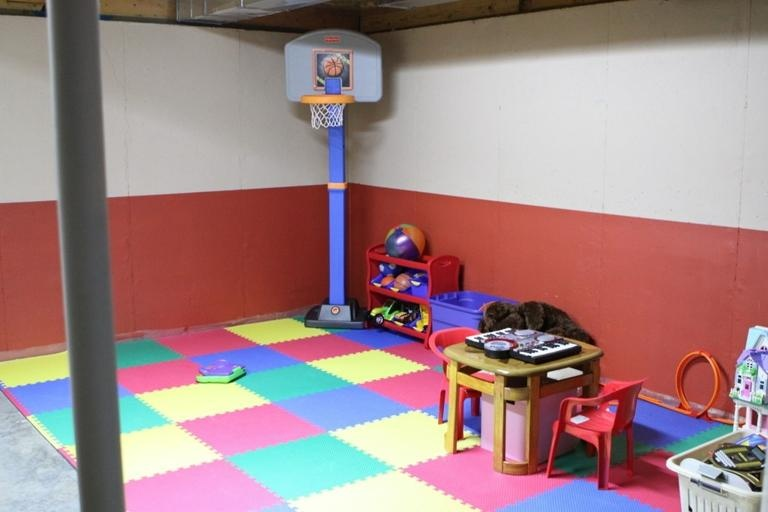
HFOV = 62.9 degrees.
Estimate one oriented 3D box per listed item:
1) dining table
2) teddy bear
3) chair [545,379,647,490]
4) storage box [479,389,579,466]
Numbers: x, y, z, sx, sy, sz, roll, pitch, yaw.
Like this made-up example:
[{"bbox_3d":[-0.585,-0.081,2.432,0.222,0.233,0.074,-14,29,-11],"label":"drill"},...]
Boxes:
[{"bbox_3d":[1.221,1.186,5.649,1.168,0.899,1.221,-4,7,-32],"label":"dining table"},{"bbox_3d":[1.660,0.705,7.048,0.790,0.278,0.593,15,4,40],"label":"teddy bear"},{"bbox_3d":[1.776,1.465,5.315,0.548,0.722,0.551,-2,3,-39],"label":"chair"},{"bbox_3d":[1.266,1.387,5.544,0.670,0.481,0.656,-2,5,-28],"label":"storage box"}]
